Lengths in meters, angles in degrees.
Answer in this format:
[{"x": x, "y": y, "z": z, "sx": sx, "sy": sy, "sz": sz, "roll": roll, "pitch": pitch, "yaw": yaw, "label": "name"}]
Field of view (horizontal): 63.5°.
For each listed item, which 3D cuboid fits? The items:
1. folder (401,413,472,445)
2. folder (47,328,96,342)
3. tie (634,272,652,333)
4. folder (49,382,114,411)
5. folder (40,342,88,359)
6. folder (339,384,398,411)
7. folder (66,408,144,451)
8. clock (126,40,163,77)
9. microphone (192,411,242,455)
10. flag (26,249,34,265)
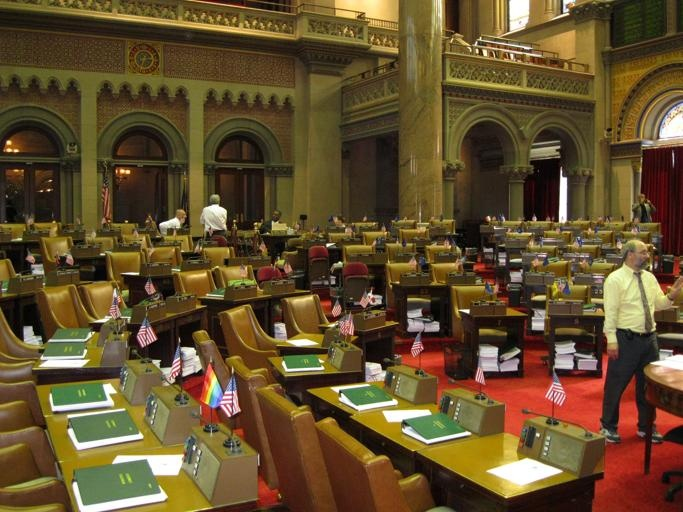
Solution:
[{"x": 0.584, "y": 1.073, "z": 3.419, "sx": 0.383, "sy": 0.093, "sz": 0.259, "roll": -3, "pitch": 5, "yaw": -27, "label": "folder"}, {"x": -2.554, "y": 0.774, "z": 5.196, "sx": 0.328, "sy": 0.083, "sz": 0.581, "roll": -3, "pitch": 5, "yaw": -22, "label": "folder"}, {"x": 2.827, "y": 0.430, "z": 5.179, "sx": 0.134, "sy": 0.559, "sz": 0.247, "roll": 0, "pitch": 5, "yaw": 2, "label": "tie"}, {"x": -1.787, "y": 0.964, "z": 3.768, "sx": 0.393, "sy": 0.084, "sz": 0.473, "roll": -3, "pitch": 5, "yaw": -27, "label": "folder"}, {"x": -2.365, "y": 0.818, "z": 4.716, "sx": 0.195, "sy": 0.053, "sz": 0.204, "roll": 0, "pitch": 5, "yaw": -3, "label": "folder"}, {"x": 0.173, "y": 1.024, "z": 4.019, "sx": 0.404, "sy": 0.071, "sz": 0.429, "roll": -3, "pitch": 5, "yaw": -26, "label": "folder"}, {"x": -1.424, "y": 1.036, "z": 3.290, "sx": 0.382, "sy": 0.081, "sz": 0.462, "roll": -4, "pitch": 6, "yaw": -31, "label": "folder"}, {"x": -6.097, "y": -6.077, "z": 16.825, "sx": 1.115, "sy": 1.232, "sz": 0.091, "roll": 0, "pitch": 2, "yaw": -32, "label": "clock"}, {"x": -0.621, "y": 0.917, "z": 2.828, "sx": 0.090, "sy": 0.151, "sz": 0.290, "roll": -2, "pitch": 2, "yaw": -25, "label": "microphone"}, {"x": -5.831, "y": 0.036, "z": 10.281, "sx": 0.279, "sy": 0.308, "sz": 0.039, "roll": -5, "pitch": -8, "yaw": 44, "label": "flag"}]
